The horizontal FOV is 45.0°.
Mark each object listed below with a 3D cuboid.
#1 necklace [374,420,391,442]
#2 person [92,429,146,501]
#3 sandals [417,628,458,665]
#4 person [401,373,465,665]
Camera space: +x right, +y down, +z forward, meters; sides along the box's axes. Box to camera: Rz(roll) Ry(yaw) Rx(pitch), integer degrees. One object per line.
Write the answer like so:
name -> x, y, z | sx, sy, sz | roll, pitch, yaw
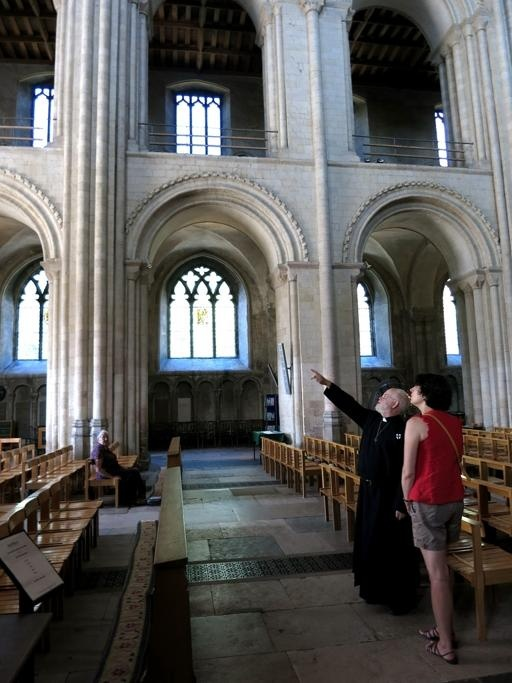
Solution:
necklace -> 0.943, 0.661, 4.670 | 0.064, 0.198, 0.004 | 15, -7, 34
person -> -1.872, 1.945, 8.817 | 0.410, 0.583, 1.097 | -6, -10, 20
sandals -> 1.134, 1.894, 3.846 | 0.089, 0.084, 0.229 | 0, 17, -18
person -> 1.135, 1.076, 3.987 | 0.362, 1.716, 0.461 | -4, -4, 24
